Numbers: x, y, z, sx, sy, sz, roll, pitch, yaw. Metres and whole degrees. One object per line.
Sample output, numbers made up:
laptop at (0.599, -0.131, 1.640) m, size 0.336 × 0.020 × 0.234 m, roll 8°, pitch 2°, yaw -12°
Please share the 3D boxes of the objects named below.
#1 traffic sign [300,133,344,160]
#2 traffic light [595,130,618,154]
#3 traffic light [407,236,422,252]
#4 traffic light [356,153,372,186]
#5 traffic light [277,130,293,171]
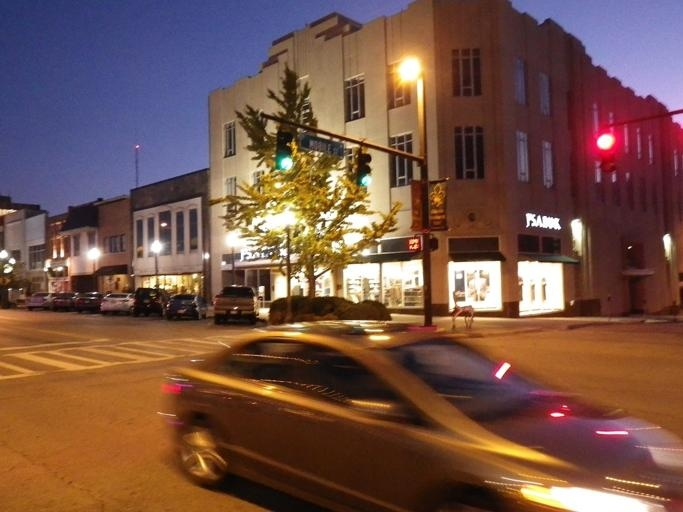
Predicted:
traffic sign at (-0.562, -3.147, 16.623) m, size 0.530 × 0.661 × 1.580 m, roll -7°, pitch 0°, yaw 36°
traffic light at (7.402, -3.132, 16.370) m, size 0.144 × 0.588 × 0.554 m, roll -6°, pitch 24°, yaw -40°
traffic light at (3.945, -0.643, 31.760) m, size 0.116 × 0.651 × 0.868 m, roll -1°, pitch 4°, yaw -26°
traffic light at (0.652, -2.631, 17.615) m, size 0.432 × 1.039 × 1.121 m, roll -7°, pitch 0°, yaw 5°
traffic light at (-1.507, -2.760, 15.287) m, size 0.476 × 1.085 × 1.007 m, roll -7°, pitch 0°, yaw -4°
